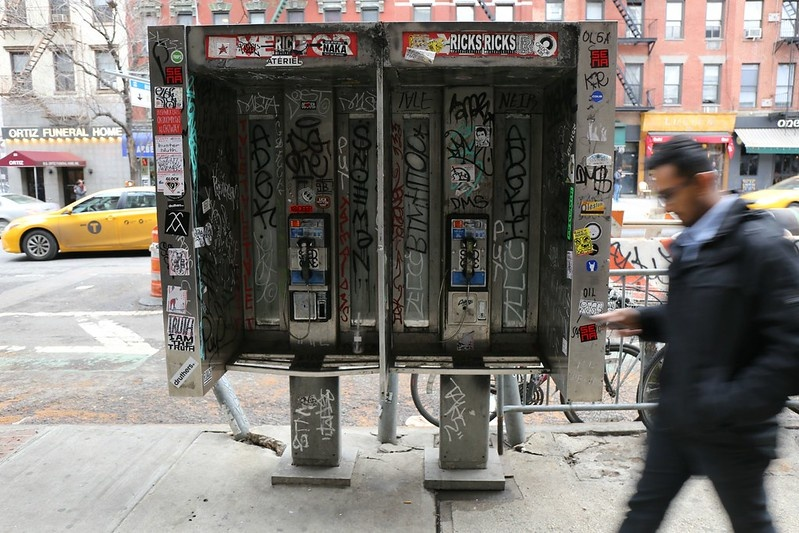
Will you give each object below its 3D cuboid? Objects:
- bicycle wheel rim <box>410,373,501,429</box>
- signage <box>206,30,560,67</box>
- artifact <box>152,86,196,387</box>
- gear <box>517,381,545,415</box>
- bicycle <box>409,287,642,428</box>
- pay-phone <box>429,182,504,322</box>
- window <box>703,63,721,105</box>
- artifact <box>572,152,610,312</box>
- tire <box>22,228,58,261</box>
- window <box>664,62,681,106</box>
[{"bbox_3d":[0.484,1.128,5.949,0.661,0.630,0.130,1,-5,27],"label":"bicycle wheel rim"},{"bbox_3d":[-0.132,-1.611,5.224,2.569,0.216,0.063,0,14,2],"label":"signage"},{"bbox_3d":[-1.668,-0.185,5.339,0.283,2.300,0.446,-4,14,-11],"label":"artifact"},{"bbox_3d":[1.228,1.216,6.614,0.281,0.285,0.086,8,-7,-15],"label":"gear"},{"bbox_3d":[1.152,0.914,6.982,2.533,1.372,0.995,0,6,-3],"label":"bicycle"},{"bbox_3d":[0.624,0.148,5.959,0.331,1.019,0.538,-15,-27,20],"label":"pay-phone"},{"bbox_3d":[11.583,-6.769,26.570,0.723,1.689,0.157,3,-1,9],"label":"window"},{"bbox_3d":[1.434,-0.231,5.328,0.257,1.436,0.157,3,-6,6],"label":"artifact"},{"bbox_3d":[-7.374,-0.504,14.590,0.487,0.482,0.171,-26,13,-2],"label":"tire"},{"bbox_3d":[10.181,-6.833,26.607,0.681,1.540,0.188,0,6,8],"label":"window"}]
